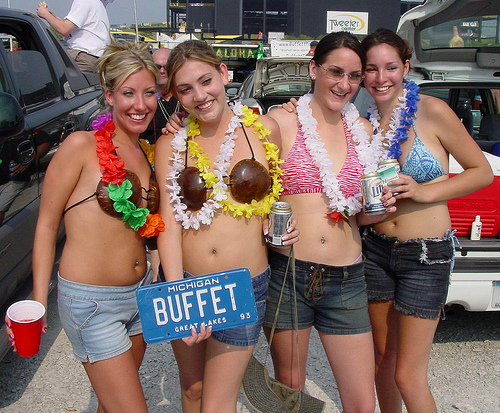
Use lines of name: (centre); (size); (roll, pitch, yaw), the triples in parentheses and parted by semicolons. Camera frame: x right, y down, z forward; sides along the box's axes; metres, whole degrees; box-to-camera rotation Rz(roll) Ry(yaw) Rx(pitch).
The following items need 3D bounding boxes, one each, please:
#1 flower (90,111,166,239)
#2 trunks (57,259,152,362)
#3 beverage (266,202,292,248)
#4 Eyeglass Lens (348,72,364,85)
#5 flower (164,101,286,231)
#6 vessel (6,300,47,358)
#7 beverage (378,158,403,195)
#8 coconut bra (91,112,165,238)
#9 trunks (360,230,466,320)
flower: (-0.687, -0.164, 2.096); (0.156, 0.598, 0.441); (-23, -21, 33)
trunks: (-0.719, 0.535, 2.040); (0.405, 0.385, 0.279); (-12, 21, -27)
beverage: (0.149, 0.095, 2.108); (0.131, 0.235, 0.076); (-2, 19, 1)
Eyeglass Lens: (0.609, -0.734, 2.341); (0.078, 0.071, 0.034); (5, -9, 38)
flower: (-0.184, -0.236, 2.091); (0.575, 0.631, 0.160); (-5, -14, -8)
vessel: (-1.022, 0.563, 1.886); (0.162, 0.238, 0.122); (-14, 22, -31)
beverage: (0.748, -0.181, 2.192); (0.115, 0.132, 0.101); (2, 19, 11)
coconut bra: (-0.695, -0.162, 2.102); (0.155, 0.598, 0.441); (-24, -19, 34)
trunks: (0.980, 0.404, 2.606); (0.348, 0.517, 0.566); (8, -4, -44)
